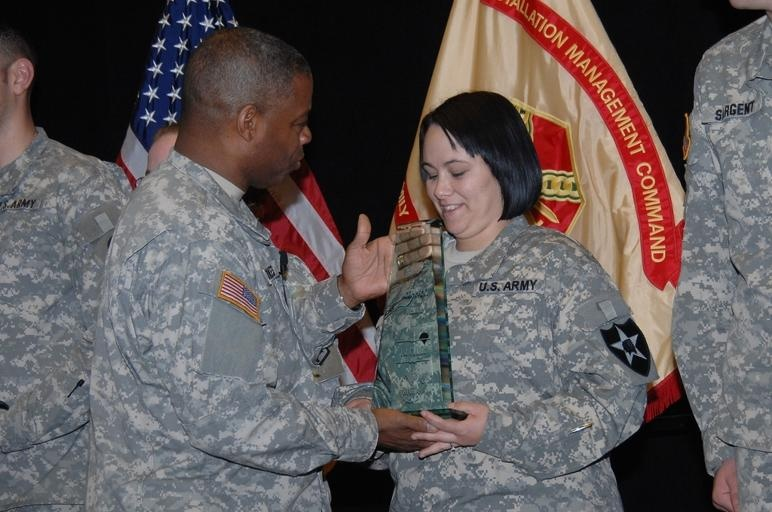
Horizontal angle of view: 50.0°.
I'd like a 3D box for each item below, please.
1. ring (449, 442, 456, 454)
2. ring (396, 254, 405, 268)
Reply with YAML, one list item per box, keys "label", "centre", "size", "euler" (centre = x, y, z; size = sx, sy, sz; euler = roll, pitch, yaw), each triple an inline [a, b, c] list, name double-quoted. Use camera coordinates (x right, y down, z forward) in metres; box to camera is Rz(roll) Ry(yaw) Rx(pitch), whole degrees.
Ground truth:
- label: "ring"
  centre: [0.236, 0.684, 2.943]
  size: [0.027, 0.040, 0.009]
  euler: [-4, 9, -8]
- label: "ring"
  centre: [0.053, 0.023, 3.067]
  size: [0.012, 0.041, 0.037]
  euler: [8, 1, -37]
